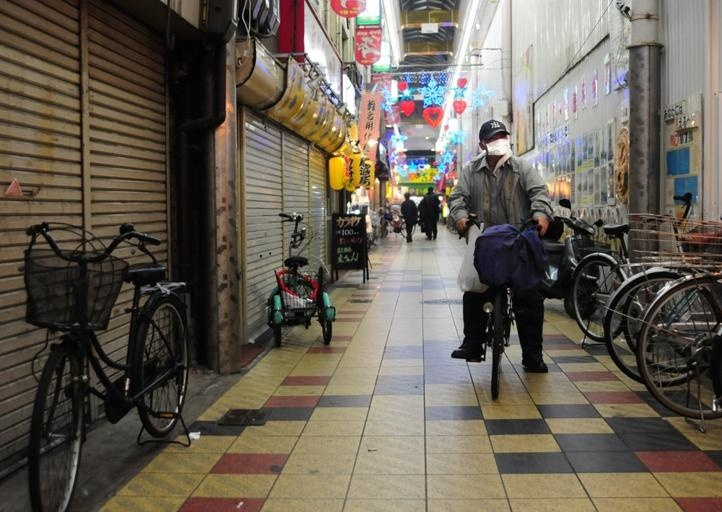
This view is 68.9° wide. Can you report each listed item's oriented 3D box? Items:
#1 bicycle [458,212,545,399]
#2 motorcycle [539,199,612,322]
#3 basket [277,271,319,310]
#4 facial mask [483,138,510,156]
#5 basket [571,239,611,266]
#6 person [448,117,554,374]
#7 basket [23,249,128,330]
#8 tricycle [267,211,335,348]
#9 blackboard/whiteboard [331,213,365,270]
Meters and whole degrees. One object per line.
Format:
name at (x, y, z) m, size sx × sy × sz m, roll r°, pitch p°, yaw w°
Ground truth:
bicycle at (1.236, 0.261, 4.576) m, size 0.501 × 1.232 × 1.988 m, roll 0°, pitch 3°, yaw 7°
motorcycle at (2.787, -0.062, 7.107) m, size 1.106 × 1.950 × 1.212 m, roll 5°, pitch 11°, yaw 11°
basket at (-0.792, 0.435, 6.579) m, size 0.518 × 0.457 × 0.414 m, roll -1°, pitch 5°, yaw -4°
facial mask at (1.334, -1.033, 5.032) m, size 0.336 × 0.151 × 0.191 m, roll -4°, pitch 5°, yaw -28°
basket at (3.125, -0.092, 7.106) m, size 0.422 × 0.555 × 0.894 m, roll 2°, pitch 6°, yaw 26°
person at (1.151, -0.062, 4.869) m, size 0.886 × 2.364 × 1.172 m, roll 0°, pitch 1°, yaw 10°
basket at (-1.544, 0.174, 2.805) m, size 0.265 × 0.359 × 0.494 m, roll 5°, pitch -3°, yaw 26°
tricycle at (-0.773, 0.271, 7.080) m, size 0.868 × 1.175 × 1.834 m, roll -1°, pitch 11°, yaw -5°
blackboard/whiteboard at (-0.276, -0.314, 11.501) m, size 0.746 × 1.202 × 0.321 m, roll -2°, pitch 4°, yaw -3°
